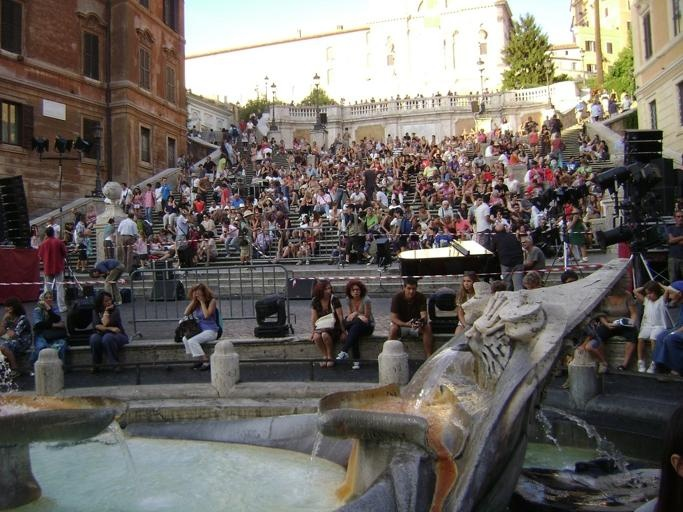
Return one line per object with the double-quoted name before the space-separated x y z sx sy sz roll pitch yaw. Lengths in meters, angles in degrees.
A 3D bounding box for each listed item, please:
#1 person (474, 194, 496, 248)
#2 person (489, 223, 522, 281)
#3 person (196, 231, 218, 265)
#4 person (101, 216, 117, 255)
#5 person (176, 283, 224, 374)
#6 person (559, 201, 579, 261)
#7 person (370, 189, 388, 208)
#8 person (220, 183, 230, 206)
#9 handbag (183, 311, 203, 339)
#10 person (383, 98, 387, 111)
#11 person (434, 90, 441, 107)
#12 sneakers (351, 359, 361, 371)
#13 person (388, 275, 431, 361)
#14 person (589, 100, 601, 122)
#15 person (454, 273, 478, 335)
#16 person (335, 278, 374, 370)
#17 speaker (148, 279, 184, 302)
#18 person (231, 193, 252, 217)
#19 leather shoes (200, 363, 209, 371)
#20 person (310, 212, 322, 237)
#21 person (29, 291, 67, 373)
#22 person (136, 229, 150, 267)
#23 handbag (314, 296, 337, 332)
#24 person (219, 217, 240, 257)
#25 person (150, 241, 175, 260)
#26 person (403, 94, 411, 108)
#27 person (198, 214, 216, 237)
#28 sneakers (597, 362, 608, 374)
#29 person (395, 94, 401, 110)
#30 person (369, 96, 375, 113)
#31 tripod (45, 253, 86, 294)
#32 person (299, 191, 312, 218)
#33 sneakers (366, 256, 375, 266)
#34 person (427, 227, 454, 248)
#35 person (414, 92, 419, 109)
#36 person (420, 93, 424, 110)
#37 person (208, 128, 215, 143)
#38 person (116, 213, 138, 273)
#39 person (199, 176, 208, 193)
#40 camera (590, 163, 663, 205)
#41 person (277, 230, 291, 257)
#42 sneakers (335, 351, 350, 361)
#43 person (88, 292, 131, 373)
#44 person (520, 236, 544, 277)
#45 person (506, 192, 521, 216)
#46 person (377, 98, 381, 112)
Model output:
"person" 3.788 -0.811 20.090 0.525 1.673 0.467 -3 -7 -32
"person" 3.414 -0.044 15.309 0.637 1.111 0.858 -3 1 12
"person" -4.237 -0.251 23.537 0.542 0.985 1.258 -3 0 -5
"person" -7.344 -0.618 23.507 0.365 1.300 1.770 -3 0 -17
"person" -2.474 1.232 13.108 0.760 1.527 0.836 -3 1 -21
"person" 5.125 -0.509 16.920 0.534 1.402 0.562 0 1 -2
"person" 1.244 -1.982 25.463 0.466 0.758 0.523 12 37 45
"person" -4.423 -2.359 28.229 0.363 0.881 1.212 -3 0 -10
"handbag" -2.628 1.229 13.127 0.263 0.375 0.218 -18 -25 -17
"person" 3.392 -11.851 58.310 0.444 0.842 0.428 -3 1 5
"person" 7.598 -12.248 58.306 0.487 1.003 0.798 -3 1 9
"sneakers" 0.248 1.822 12.454 0.133 0.147 0.143 -1 2 10
"person" 1.140 1.045 12.544 0.657 1.439 0.961 -1 8 -1
"person" 12.245 -7.038 35.744 0.432 0.815 1.306 -2 1 24
"person" 2.137 0.789 12.389 0.377 1.243 0.394 -10 24 -4
"person" 0.212 1.147 12.798 0.581 1.408 0.926 -2 1 13
"speaker" -4.059 0.799 17.278 0.517 0.390 0.748 0 -2 3
"person" -3.584 -1.820 26.425 0.838 0.549 1.302 1 -5 -3
"leather shoes" -2.389 1.923 13.007 0.152 0.133 0.244 -3 0 -26
"person" -0.820 -1.049 24.186 0.327 0.767 0.802 -3 0 -1
"person" -5.290 1.283 13.393 0.634 1.521 0.708 -3 1 -24
"person" -6.126 -0.232 22.872 0.374 1.068 0.695 -3 1 -16
"handbag" -0.273 1.002 12.891 0.448 0.771 0.104 -16 -47 26
"person" -3.588 -0.607 24.011 0.547 1.195 1.150 -3 0 -15
"person" -5.600 -0.212 23.349 0.844 0.551 0.997 -3 0 11
"person" 5.107 -12.146 58.195 0.435 0.839 0.557 -3 1 8
"person" -4.540 -1.072 25.015 0.495 0.896 0.782 -2 -6 -3
"sneakers" 3.813 1.646 10.895 0.151 0.086 0.218 -7 11 -10
"person" 4.466 -12.031 58.518 0.419 1.088 1.236 -3 1 4
"person" 2.434 -11.966 58.846 0.382 0.951 0.985 -3 0 -4
"tripod" -7.087 0.470 19.089 0.644 1.559 0.797 -5 20 -4
"person" -1.274 -1.911 26.501 0.496 0.815 1.224 -3 0 -2
"sneakers" 0.887 0.108 22.092 0.180 0.285 0.127 23 34 6
"person" 2.686 -0.513 20.401 0.344 0.492 1.300 8 4 5
"person" 6.011 -12.138 58.352 0.453 1.107 1.546 -3 0 7
"person" 6.251 -12.105 58.127 0.310 0.877 0.531 -2 1 12
"person" -8.661 -8.043 49.807 0.383 0.864 1.020 -3 0 -17
"person" -6.541 -0.433 22.762 0.592 1.844 1.095 -3 1 -23
"person" -5.677 -2.973 30.590 0.450 0.718 1.616 -3 0 -11
"camera" 4.912 -1.346 12.730 0.851 0.327 0.595 -17 37 27
"person" -1.829 -0.382 23.519 0.378 0.805 0.724 -3 1 -1
"sneakers" 0.013 1.688 12.541 0.085 0.120 0.269 1 -9 13
"person" -4.218 1.274 13.435 0.614 1.450 0.691 -3 1 7
"person" 4.046 0.155 15.908 0.545 1.156 0.580 -2 -9 6
"person" 5.100 -1.550 22.020 0.410 0.566 1.335 -3 0 12
"person" 3.029 -11.852 58.398 0.443 0.833 0.449 -3 1 5
